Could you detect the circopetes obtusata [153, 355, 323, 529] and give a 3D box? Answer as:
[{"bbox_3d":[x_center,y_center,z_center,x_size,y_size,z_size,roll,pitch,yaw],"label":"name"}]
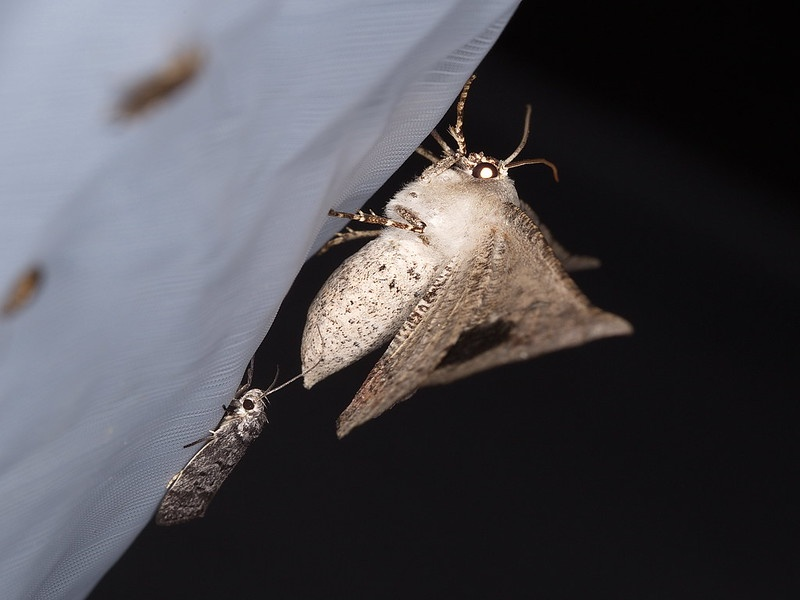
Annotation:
[{"bbox_3d":[-0.178,0.194,1.234,0.115,0.086,0.260,24,72,33],"label":"circopetes obtusata"}]
